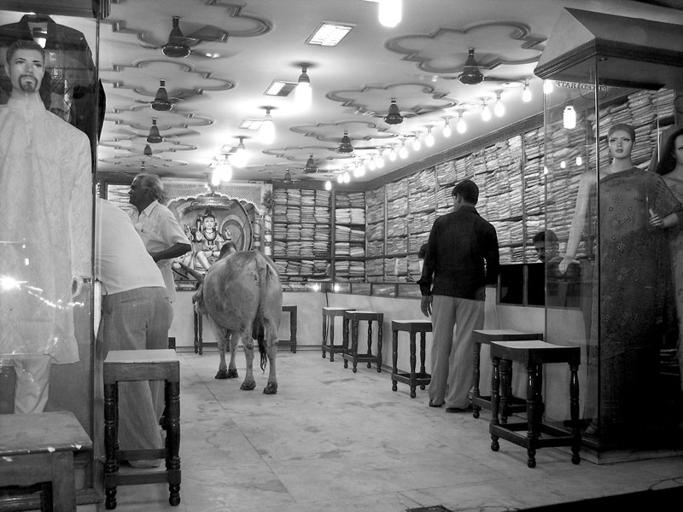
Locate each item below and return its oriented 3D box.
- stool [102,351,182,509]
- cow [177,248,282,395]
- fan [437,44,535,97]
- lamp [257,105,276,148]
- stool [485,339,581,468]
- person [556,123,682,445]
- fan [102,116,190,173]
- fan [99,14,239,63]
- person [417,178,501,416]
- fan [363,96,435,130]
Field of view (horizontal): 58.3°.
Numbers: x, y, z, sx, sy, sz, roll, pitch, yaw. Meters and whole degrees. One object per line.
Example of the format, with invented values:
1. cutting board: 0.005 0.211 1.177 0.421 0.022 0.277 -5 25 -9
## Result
1. stool: -1.185 1.004 3.666 0.458 0.862 0.548 2 -3 -16
2. cow: -1.099 0.723 7.023 0.478 1.525 1.279 4 -4 -45
3. fan: 1.588 -1.880 6.592 1.048 0.623 0.409 4 -4 -30
4. lamp: -0.948 -1.687 7.965 0.241 0.476 0.239 -1 21 -3
5. stool: 1.388 1.028 4.469 0.585 0.806 0.685 2 -3 -11
6. person: 2.080 0.181 4.420 0.771 2.172 0.251 2 -3 -11
7. fan: -3.542 -1.706 10.925 1.469 0.212 2.755 3 -4 -23
8. fan: -1.616 -2.097 6.039 0.618 0.219 0.617 1 -1 0
9. person: 1.105 0.355 5.755 0.719 2.146 0.422 1 -3 11
10. fan: 0.732 -1.730 7.541 0.392 0.448 0.385 -2 8 -21
